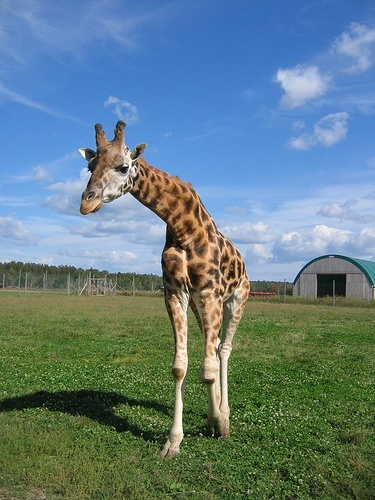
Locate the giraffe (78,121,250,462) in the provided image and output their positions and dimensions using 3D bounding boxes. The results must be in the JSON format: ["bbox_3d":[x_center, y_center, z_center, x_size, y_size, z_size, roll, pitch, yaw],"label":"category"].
[{"bbox_3d":[-0.132,0.668,5.309,1.254,4.309,3.734,0,-4,27],"label":"giraffe"}]
